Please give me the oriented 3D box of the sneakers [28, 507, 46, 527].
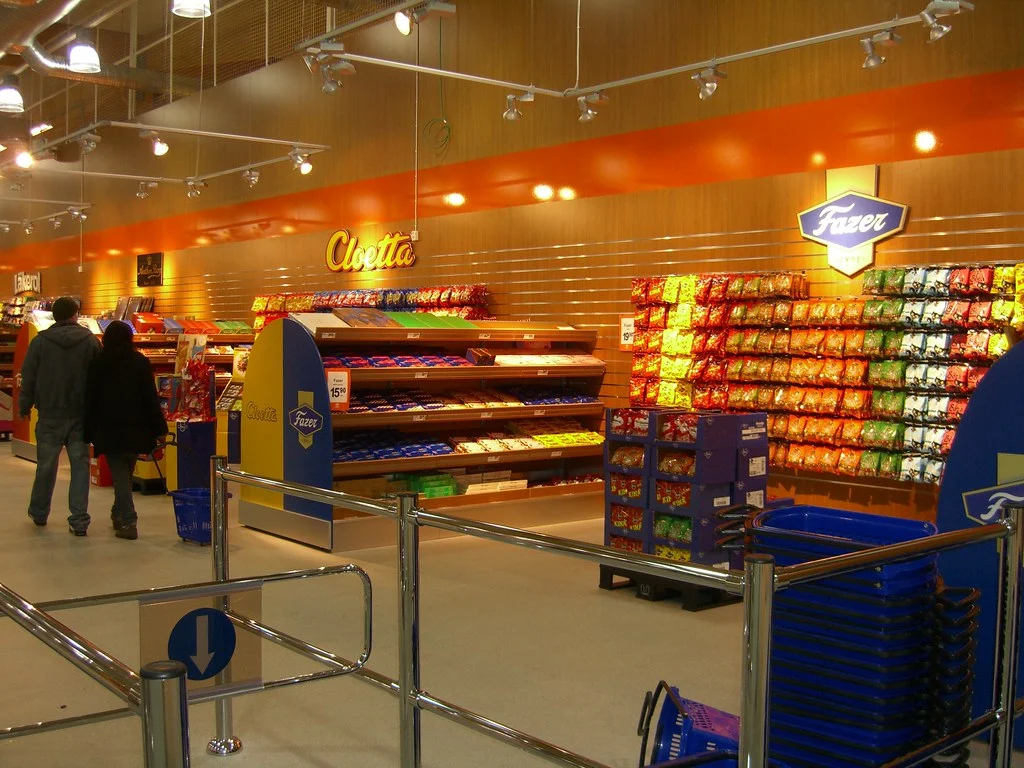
[{"bbox_3d":[-4.267,1.205,7.176,0.102,0.112,0.285,1,-2,-38],"label":"sneakers"}]
